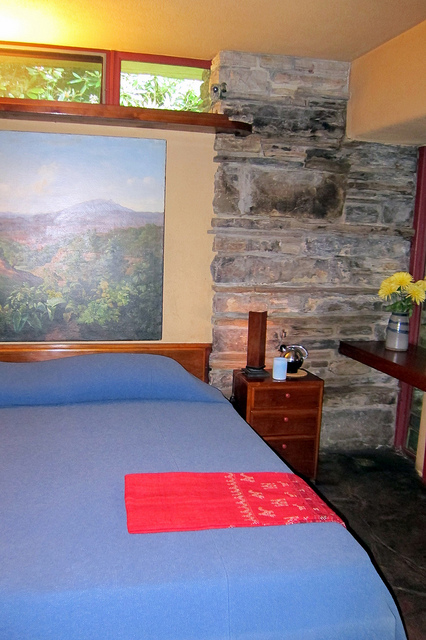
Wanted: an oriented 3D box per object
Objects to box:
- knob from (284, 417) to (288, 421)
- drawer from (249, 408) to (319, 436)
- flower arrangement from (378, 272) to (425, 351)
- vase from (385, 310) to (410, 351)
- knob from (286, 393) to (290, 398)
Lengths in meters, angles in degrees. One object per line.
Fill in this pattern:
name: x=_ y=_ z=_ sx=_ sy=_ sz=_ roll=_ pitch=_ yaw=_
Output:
knob: x=0.418 y=0.579 z=2.710 sx=0.020 sy=0.014 sz=0.019 roll=0 pitch=6 yaw=6
drawer: x=0.418 y=0.591 z=2.713 sx=0.302 sy=0.144 sz=0.197 roll=-1 pitch=5 yaw=-12
flower arrangement: x=1.222 y=-0.061 z=3.026 sx=0.290 sy=0.491 sz=0.458 roll=4 pitch=7 yaw=19
vase: x=1.191 y=0.064 z=3.015 sx=0.179 sy=0.264 sz=0.178 roll=8 pitch=9 yaw=29
knob: x=0.427 y=0.438 z=2.696 sx=0.028 sy=0.027 sz=0.009 roll=-3 pitch=6 yaw=-4
